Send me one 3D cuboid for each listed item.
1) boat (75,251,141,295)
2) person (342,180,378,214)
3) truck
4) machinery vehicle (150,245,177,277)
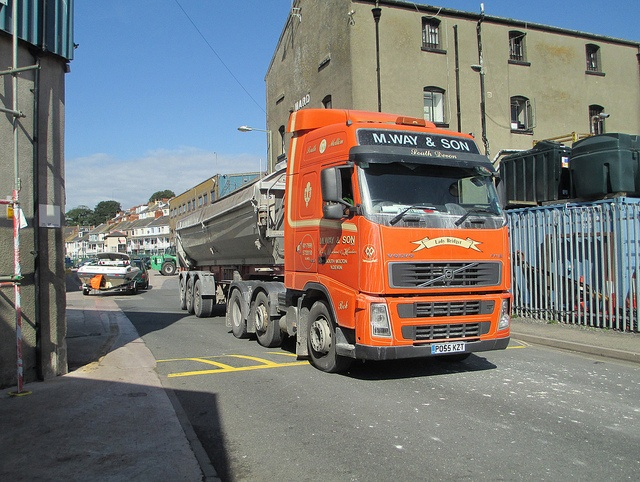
[{"bbox_3d":[-10.020,1.678,24.494,2.491,2.065,3.554,-1,3,-9],"label":"boat"},{"bbox_3d":[0.571,-0.751,7.669,0.671,0.693,0.238,2,4,32],"label":"person"},{"bbox_3d":[0.125,0.109,11.363,2.725,3.892,8.497,1,-3,-27],"label":"truck"},{"bbox_3d":[-15.343,1.950,50.131,3.094,2.410,2.157,5,-4,-26],"label":"machinery vehicle"}]
